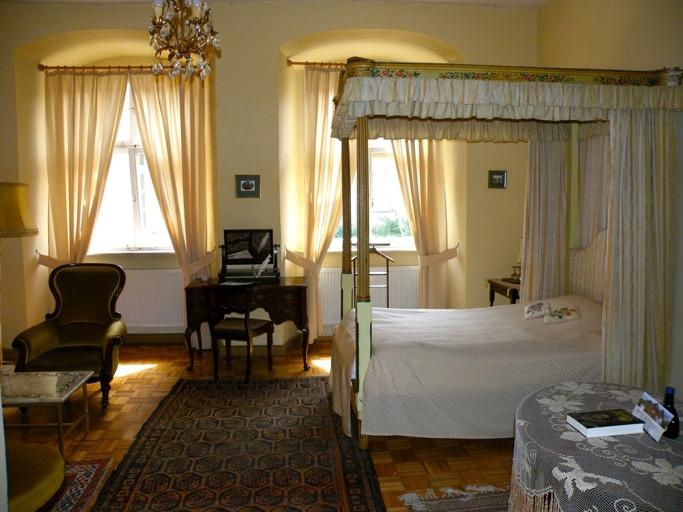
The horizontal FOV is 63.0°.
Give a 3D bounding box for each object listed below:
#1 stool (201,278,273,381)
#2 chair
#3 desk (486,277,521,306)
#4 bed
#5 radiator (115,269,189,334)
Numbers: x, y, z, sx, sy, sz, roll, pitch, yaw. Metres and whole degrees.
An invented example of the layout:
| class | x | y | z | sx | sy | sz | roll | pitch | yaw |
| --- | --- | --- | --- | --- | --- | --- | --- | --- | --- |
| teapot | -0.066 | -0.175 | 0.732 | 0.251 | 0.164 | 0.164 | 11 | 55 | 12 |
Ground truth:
| class | x | y | z | sx | sy | sz | roll | pitch | yaw |
| --- | --- | --- | --- | --- | --- | --- | --- | --- | --- |
| stool | -1.158 | 0.802 | 6.185 | 0.609 | 1.110 | 0.684 | -1 | 2 | 15 |
| chair | -2.587 | 0.742 | 5.426 | 1.007 | 1.367 | 1.094 | 0 | -2 | 20 |
| desk | 1.891 | 0.376 | 6.319 | 0.290 | 0.352 | 0.355 | -2 | 5 | -15 |
| bed | 1.215 | -0.162 | 5.489 | 2.618 | 2.682 | 2.806 | 0 | 7 | 0 |
| radiator | -2.421 | 0.532 | 7.066 | 0.818 | 0.622 | 0.061 | 0 | 1 | -1 |
